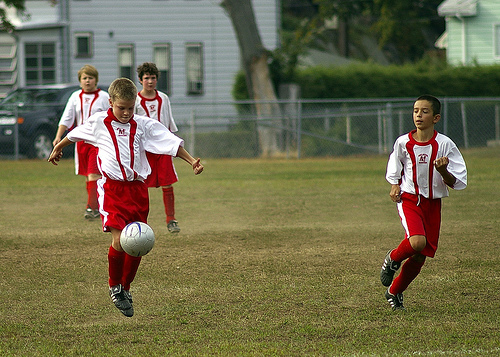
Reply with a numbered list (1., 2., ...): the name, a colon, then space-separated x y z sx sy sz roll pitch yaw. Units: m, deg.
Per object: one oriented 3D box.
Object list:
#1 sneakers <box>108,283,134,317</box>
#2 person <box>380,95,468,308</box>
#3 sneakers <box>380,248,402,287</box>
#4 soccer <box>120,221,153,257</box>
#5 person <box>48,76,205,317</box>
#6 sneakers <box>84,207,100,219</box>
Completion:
1. sneakers: -1.366 1.289 10.518 0.237 0.296 0.264 -4 14 -9
2. person: 1.828 0.218 10.756 0.971 2.186 0.602 -8 16 -23
3. sneakers: 1.523 0.998 10.917 0.155 0.465 0.217 5 15 -27
4. soccer: -1.191 0.636 10.629 0.362 0.365 0.343 -12 28 -24
5. person: -1.284 0.105 10.831 1.253 2.404 1.190 -8 16 -23
6. sneakers: -2.196 0.482 13.658 0.127 0.150 0.338 0 -6 10
